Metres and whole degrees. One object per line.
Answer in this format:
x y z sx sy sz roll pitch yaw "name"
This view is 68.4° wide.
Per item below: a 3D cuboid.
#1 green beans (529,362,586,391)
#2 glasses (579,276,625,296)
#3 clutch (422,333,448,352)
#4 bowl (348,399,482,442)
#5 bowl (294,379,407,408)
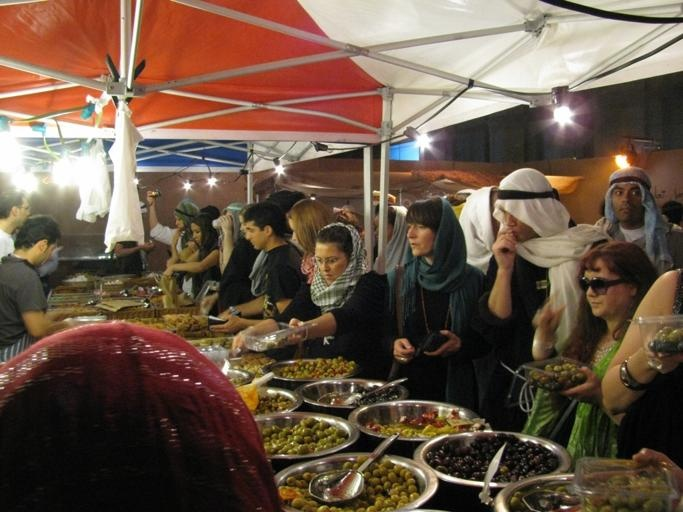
0.910 0.503 2.132 0.222 0.107 0.152 1 5 21 "green beans"
1.130 0.125 2.198 0.176 0.075 0.071 3 6 36 "glasses"
0.532 0.480 2.806 0.160 0.107 0.045 -2 5 -18 "clutch"
0.352 0.726 2.227 0.534 0.104 0.498 2 -5 0 "bowl"
0.059 0.712 2.631 0.316 0.094 0.249 -1 -2 36 "bowl"
